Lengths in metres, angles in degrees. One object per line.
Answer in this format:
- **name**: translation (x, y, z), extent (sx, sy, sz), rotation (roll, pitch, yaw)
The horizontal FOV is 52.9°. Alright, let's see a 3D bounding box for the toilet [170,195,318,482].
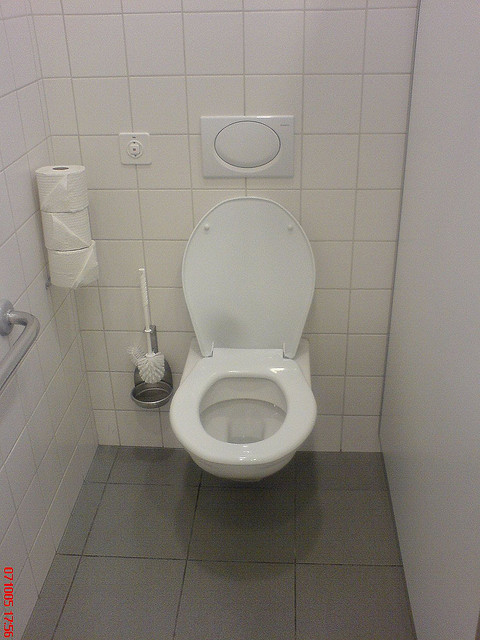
- **toilet**: translation (0.028, 0.169, 1.373), extent (0.391, 0.873, 0.575), rotation (-1, 32, -2)

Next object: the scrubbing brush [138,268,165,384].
- **scrubbing brush**: translation (-0.289, 0.022, 1.524), extent (0.056, 0.352, 0.090), rotation (6, 30, 8)

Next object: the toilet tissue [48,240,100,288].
- **toilet tissue**: translation (-0.460, -0.179, 1.321), extent (0.129, 0.124, 0.152), rotation (-12, 43, -27)

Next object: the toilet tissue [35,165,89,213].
- **toilet tissue**: translation (-0.455, -0.335, 1.242), extent (0.112, 0.111, 0.122), rotation (-1, 23, -7)

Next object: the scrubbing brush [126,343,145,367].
- **scrubbing brush**: translation (-0.343, 0.120, 1.605), extent (0.045, 0.024, 0.082), rotation (-6, 63, -20)
